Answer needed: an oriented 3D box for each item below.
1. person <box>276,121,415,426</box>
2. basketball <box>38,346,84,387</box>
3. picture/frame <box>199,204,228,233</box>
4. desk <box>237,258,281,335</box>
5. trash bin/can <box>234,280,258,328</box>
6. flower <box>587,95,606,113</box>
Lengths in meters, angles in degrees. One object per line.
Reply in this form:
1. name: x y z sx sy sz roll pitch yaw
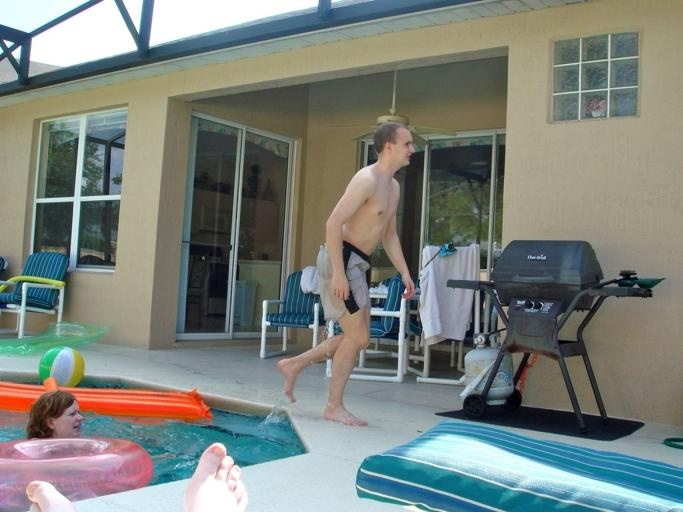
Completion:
1. person: 0.070 0.118 3.671 0.874 1.984 0.558 2 1 -13
2. basketball: -2.059 0.847 4.002 0.290 0.311 0.264 2 2 -34
3. picture/frame: -1.658 -0.470 7.101 0.467 0.235 0.036 2 2 -41
4. desk: -1.154 0.569 7.551 0.374 1.009 0.448 3 0 -40
5. trash bin/can: -1.347 0.605 7.562 0.243 0.415 0.273 -1 -14 33
6. flower: 1.997 -1.171 4.232 0.142 0.140 0.041 0 -4 43
